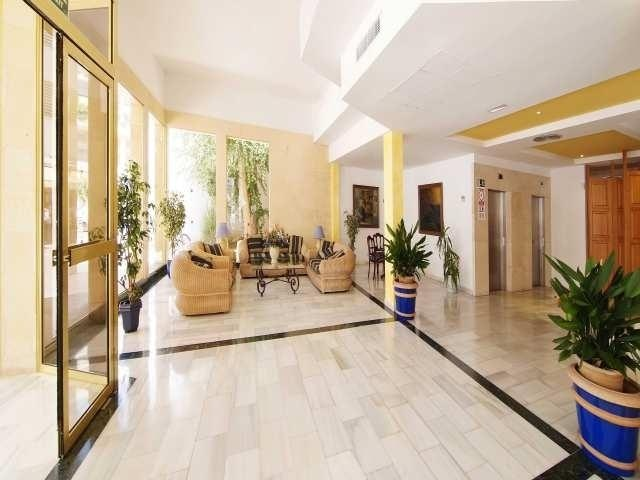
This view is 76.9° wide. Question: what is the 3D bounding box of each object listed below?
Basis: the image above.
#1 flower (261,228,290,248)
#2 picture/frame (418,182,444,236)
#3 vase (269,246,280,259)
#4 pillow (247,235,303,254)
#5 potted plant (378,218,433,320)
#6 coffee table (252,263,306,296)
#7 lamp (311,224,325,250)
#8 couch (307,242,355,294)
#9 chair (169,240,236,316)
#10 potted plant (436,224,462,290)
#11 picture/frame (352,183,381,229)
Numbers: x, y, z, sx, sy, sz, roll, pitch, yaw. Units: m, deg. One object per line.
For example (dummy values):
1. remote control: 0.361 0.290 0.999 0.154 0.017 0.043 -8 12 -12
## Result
1. flower: -0.980 -0.021 8.462 0.440 0.548 0.471 -3 2 2
2. picture/frame: 2.436 -0.688 8.825 0.059 1.346 1.084 -1 3 -18
3. vase: -0.908 0.243 8.080 0.206 0.269 0.225 -1 5 -8
4. pillow: -0.856 0.057 9.008 1.099 0.403 0.445 -3 -4 -33
5. potted plant: 1.523 0.391 7.040 0.729 1.545 1.982 1 4 13
6. coffee table: -0.806 0.677 8.146 0.773 0.560 1.993 0 4 -4
7. lamp: -0.038 -0.063 9.768 0.411 0.840 0.446 -2 6 -6
8. couch: 0.185 0.530 8.236 0.769 0.858 1.586 -1 4 -8
9. chair: -1.927 0.632 6.811 0.855 1.011 1.466 -1 4 -10
10. potted plant: 2.568 0.355 8.085 0.396 1.243 0.964 0 4 9
11. picture/frame: 1.185 -0.919 10.772 1.075 1.513 0.092 1 -4 -34
